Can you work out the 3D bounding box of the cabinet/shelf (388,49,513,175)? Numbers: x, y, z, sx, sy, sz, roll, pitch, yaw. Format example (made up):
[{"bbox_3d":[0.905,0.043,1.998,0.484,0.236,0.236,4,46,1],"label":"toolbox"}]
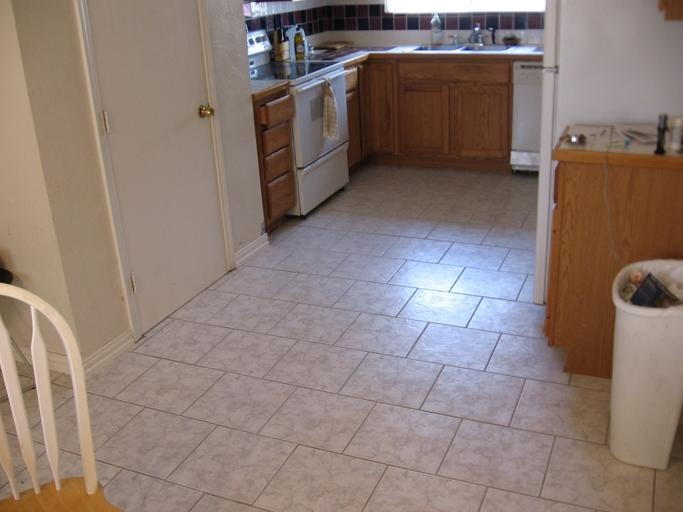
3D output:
[{"bbox_3d":[1.054,-1.384,4.886,1.057,0.956,0.421,6,33,15],"label":"cabinet/shelf"}]

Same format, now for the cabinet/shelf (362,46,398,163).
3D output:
[{"bbox_3d":[0.266,-1.498,5.270,0.489,0.952,0.505,4,7,7],"label":"cabinet/shelf"}]

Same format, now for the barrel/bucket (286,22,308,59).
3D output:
[{"bbox_3d":[-0.415,-2.003,4.891,0.195,0.274,0.346,-4,26,0],"label":"barrel/bucket"}]

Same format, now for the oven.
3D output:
[{"bbox_3d":[-0.318,-0.981,4.397,0.548,1.050,0.933,5,27,20],"label":"oven"}]

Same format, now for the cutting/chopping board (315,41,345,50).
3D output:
[{"bbox_3d":[-0.110,-2.181,5.424,0.274,0.044,0.248,5,27,18],"label":"cutting/chopping board"}]

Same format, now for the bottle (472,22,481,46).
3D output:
[{"bbox_3d":[1.338,-2.191,5.149,0.075,0.189,0.153,-1,26,7],"label":"bottle"}]

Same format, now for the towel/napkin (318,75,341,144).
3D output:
[{"bbox_3d":[-0.102,-1.188,4.239,0.129,0.483,0.314,-3,25,2],"label":"towel/napkin"}]

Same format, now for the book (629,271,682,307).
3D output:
[{"bbox_3d":[1.141,0.122,1.904,0.142,0.038,0.148,41,75,5],"label":"book"}]

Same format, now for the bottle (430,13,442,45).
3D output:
[{"bbox_3d":[0.971,-2.309,5.307,0.115,0.294,0.056,0,25,9],"label":"bottle"}]

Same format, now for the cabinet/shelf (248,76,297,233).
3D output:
[{"bbox_3d":[-0.465,-0.733,3.843,0.133,0.999,0.479,6,27,21],"label":"cabinet/shelf"}]
